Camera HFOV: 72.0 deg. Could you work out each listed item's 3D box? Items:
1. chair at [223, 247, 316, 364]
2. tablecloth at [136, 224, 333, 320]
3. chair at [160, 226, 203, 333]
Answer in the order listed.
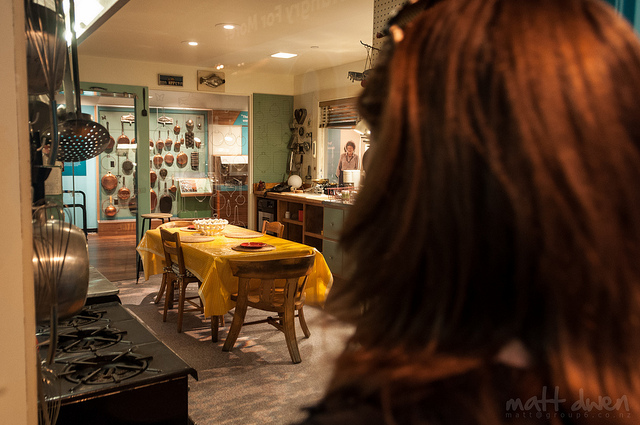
[{"bbox_3d":[-0.341,0.653,3.448,0.582,0.842,0.688,6,15,13],"label":"chair"},{"bbox_3d":[-0.913,0.470,4.182,1.130,0.461,2.063,-1,5,-33],"label":"tablecloth"},{"bbox_3d":[-1.155,0.554,3.982,0.555,0.854,0.528,-1,4,-30],"label":"chair"}]
